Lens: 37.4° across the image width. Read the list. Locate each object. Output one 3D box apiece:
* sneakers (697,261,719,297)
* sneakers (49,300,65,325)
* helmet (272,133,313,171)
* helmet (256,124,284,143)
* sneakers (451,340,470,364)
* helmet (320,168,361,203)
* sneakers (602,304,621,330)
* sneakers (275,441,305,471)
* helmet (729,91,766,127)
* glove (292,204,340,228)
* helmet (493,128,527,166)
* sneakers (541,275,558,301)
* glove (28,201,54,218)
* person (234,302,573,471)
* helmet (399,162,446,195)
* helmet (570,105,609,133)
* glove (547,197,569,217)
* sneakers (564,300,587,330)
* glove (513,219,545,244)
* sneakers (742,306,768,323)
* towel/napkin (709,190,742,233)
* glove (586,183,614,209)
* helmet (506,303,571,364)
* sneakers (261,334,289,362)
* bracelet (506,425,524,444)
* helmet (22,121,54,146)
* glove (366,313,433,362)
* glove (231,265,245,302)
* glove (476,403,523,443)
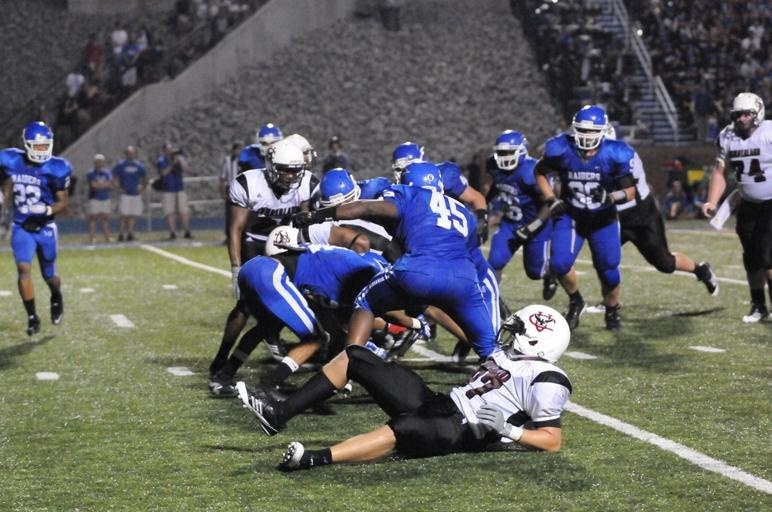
[{"bbox_3d":[3.824,0.296,13.558,0.183,0.423,0.155,-43,18,-15],"label":"sneakers"},{"bbox_3d":[-3.641,0.631,12.491,0.117,0.326,0.133,2,5,-27],"label":"sneakers"},{"bbox_3d":[-0.905,-1.091,11.666,0.414,0.360,0.303,21,34,20],"label":"helmet"},{"bbox_3d":[-1.317,-1.333,12.463,0.290,0.247,0.227,-4,14,4],"label":"helmet"},{"bbox_3d":[0.742,0.956,11.466,0.106,0.302,0.130,15,33,-5],"label":"sneakers"},{"bbox_3d":[-0.419,-0.632,10.616,0.391,0.358,0.401,-1,0,-19],"label":"helmet"},{"bbox_3d":[2.489,0.672,12.529,0.165,0.274,0.134,-1,0,10],"label":"sneakers"},{"bbox_3d":[-0.797,1.678,9.551,0.110,0.249,0.196,39,27,-4],"label":"sneakers"},{"bbox_3d":[3.921,-1.594,12.419,0.307,0.319,0.383,-4,13,40],"label":"helmet"},{"bbox_3d":[-0.662,-0.352,10.411,0.289,0.118,0.209,-19,0,15],"label":"glove"},{"bbox_3d":[1.443,-1.253,13.037,0.375,0.429,0.478,-2,19,22],"label":"helmet"},{"bbox_3d":[1.939,0.378,13.641,0.123,0.348,0.156,9,9,25],"label":"sneakers"},{"bbox_3d":[-3.736,-0.491,12.219,0.258,0.166,0.168,-1,0,-19],"label":"glove"},{"bbox_3d":[0.187,1.069,9.665,2.922,1.118,1.588,-3,7,-7],"label":"person"},{"bbox_3d":[0.314,-0.707,10.549,0.287,0.281,0.358,-7,44,-16],"label":"helmet"},{"bbox_3d":[2.156,-1.442,12.152,0.332,0.334,0.419,5,7,20],"label":"helmet"},{"bbox_3d":[1.813,-0.515,12.230,0.184,0.119,0.218,1,5,-5],"label":"glove"},{"bbox_3d":[2.063,0.652,12.415,0.117,0.149,0.344,-3,44,47],"label":"sneakers"},{"bbox_3d":[1.588,-0.283,12.659,0.323,0.248,0.286,-1,0,2],"label":"glove"},{"bbox_3d":[4.005,0.657,12.513,0.381,0.165,0.125,-3,-3,-26],"label":"sneakers"},{"bbox_3d":[3.786,-0.524,12.699,0.303,0.459,0.283,-1,0,16],"label":"towel/napkin"},{"bbox_3d":[2.232,-0.653,12.016,0.196,0.101,0.259,25,-5,-14],"label":"glove"},{"bbox_3d":[1.306,0.587,9.757,0.648,0.457,0.492,6,9,3],"label":"helmet"},{"bbox_3d":[-1.161,0.918,11.583,0.150,0.155,0.401,9,8,-33],"label":"sneakers"},{"bbox_3d":[1.028,1.451,9.348,0.155,0.121,0.076,0,13,43],"label":"bracelet"},{"bbox_3d":[-3.812,-1.305,12.311,0.325,0.280,0.301,0,8,34],"label":"helmet"},{"bbox_3d":[0.129,0.761,11.187,0.613,0.400,0.317,-31,26,34],"label":"glove"},{"bbox_3d":[-1.484,0.267,11.263,0.157,0.339,0.255,9,-22,-23],"label":"glove"},{"bbox_3d":[0.930,1.433,9.472,0.253,0.159,0.476,12,-18,-17],"label":"glove"}]
